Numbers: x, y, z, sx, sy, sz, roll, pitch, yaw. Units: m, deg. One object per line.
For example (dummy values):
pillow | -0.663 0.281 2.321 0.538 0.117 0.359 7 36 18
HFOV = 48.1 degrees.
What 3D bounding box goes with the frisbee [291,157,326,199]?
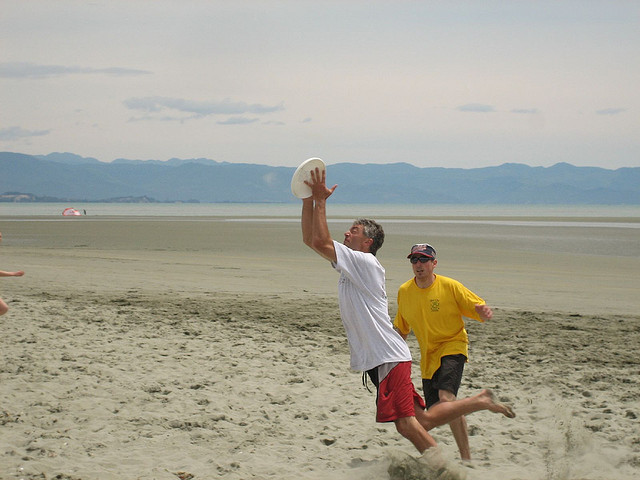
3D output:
frisbee | -0.126 -0.615 7.226 0.331 0.403 0.303 1 6 -1
